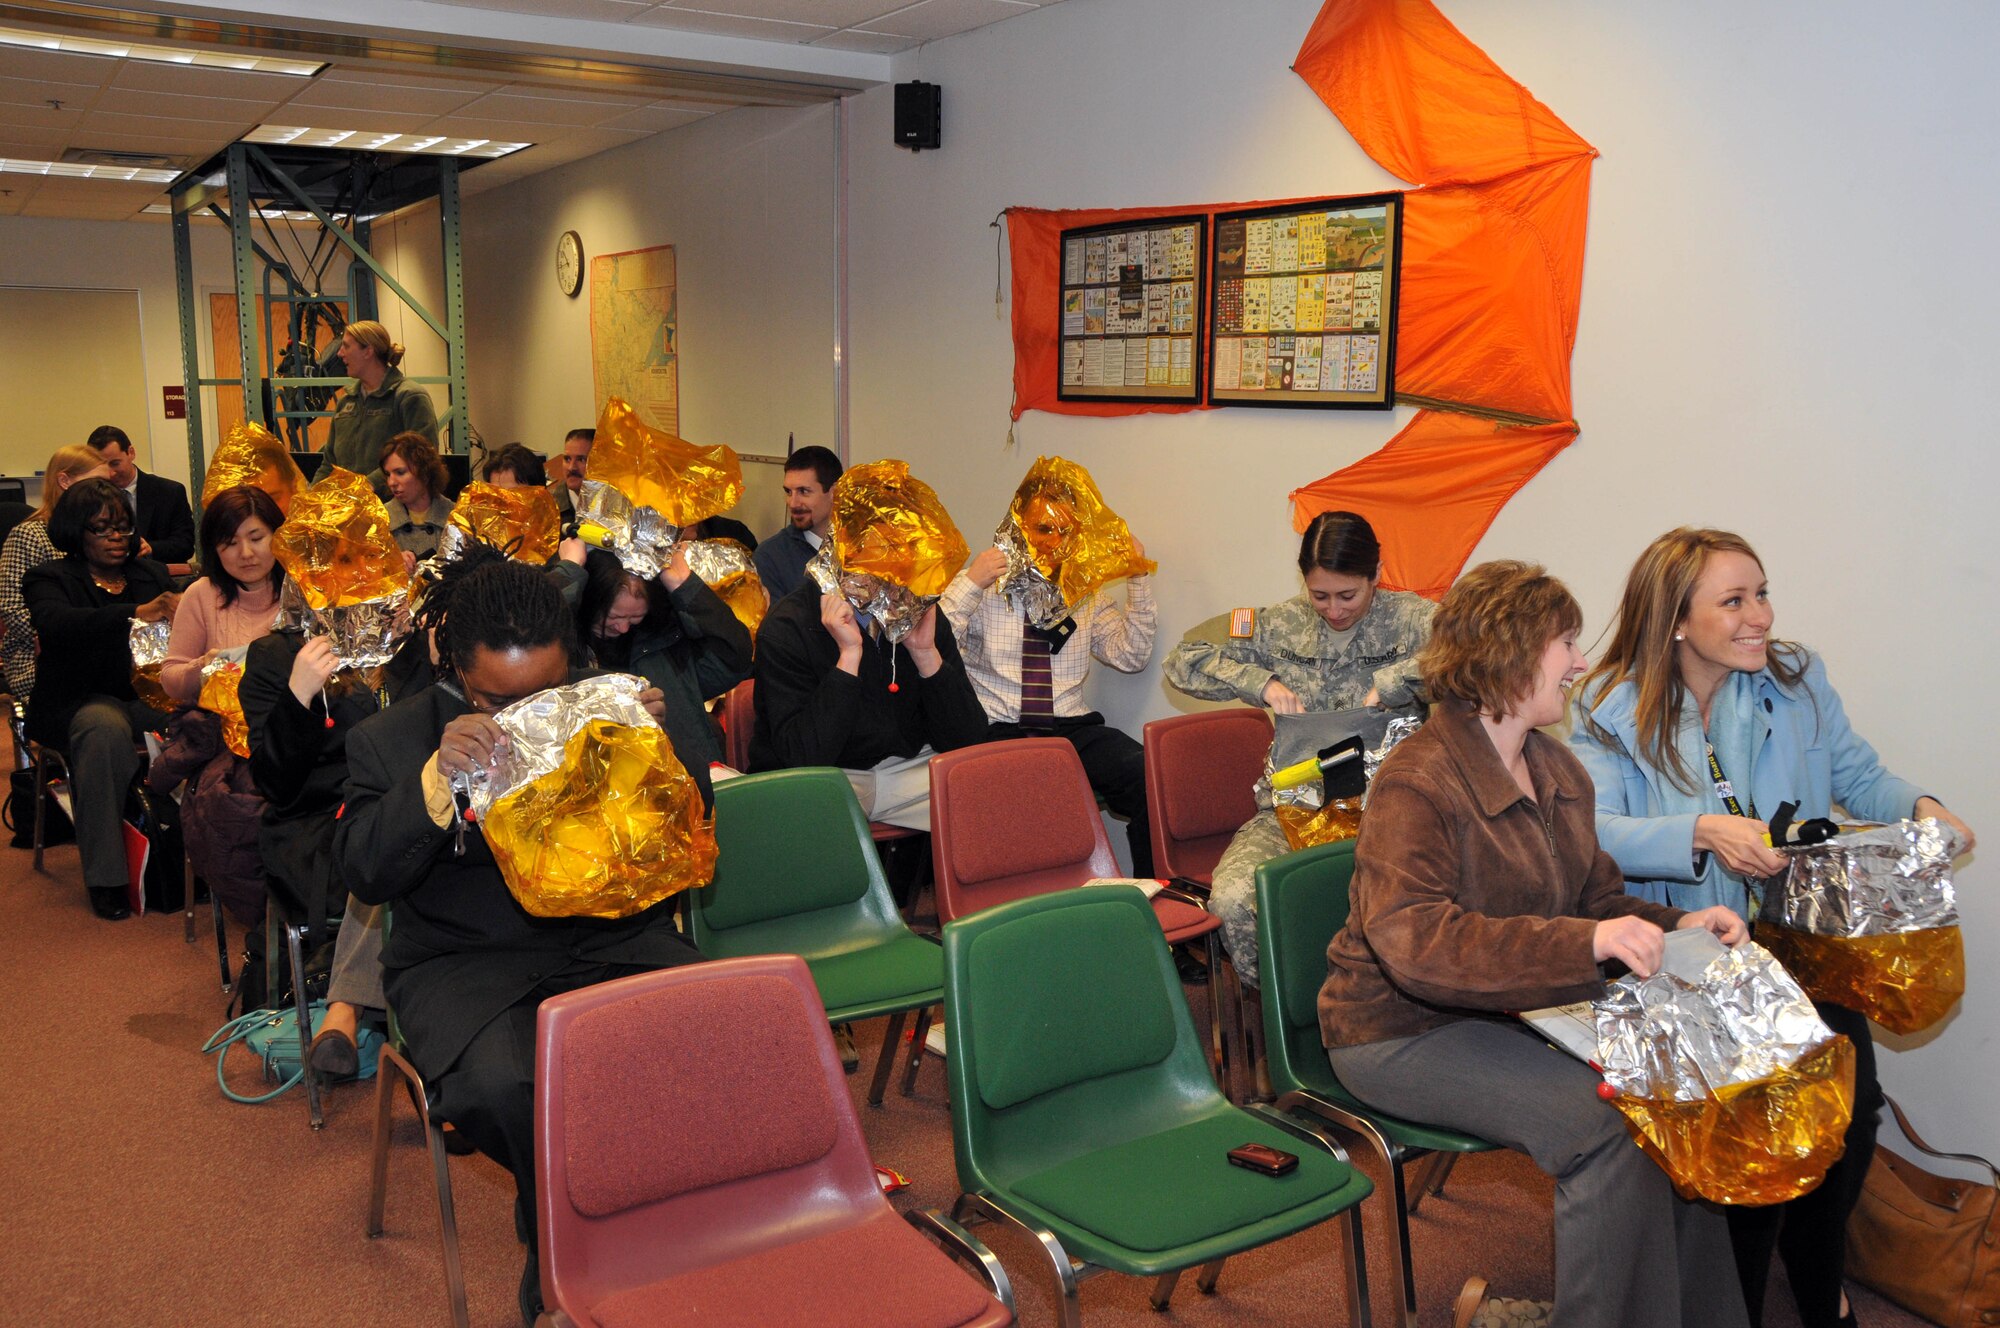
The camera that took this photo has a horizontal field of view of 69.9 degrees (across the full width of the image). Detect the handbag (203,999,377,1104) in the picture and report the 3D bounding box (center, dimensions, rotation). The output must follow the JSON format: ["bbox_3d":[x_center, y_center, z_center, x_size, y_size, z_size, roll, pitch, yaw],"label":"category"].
[{"bbox_3d":[-2.330,1.185,4.620,0.516,0.177,0.396,0,0,-8],"label":"handbag"}]

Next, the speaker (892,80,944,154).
[{"bbox_3d":[-0.420,-2.468,6.483,0.200,0.281,0.275,-7,11,-31],"label":"speaker"}]

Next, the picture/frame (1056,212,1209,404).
[{"bbox_3d":[0.544,-1.428,5.682,0.797,0.755,0.079,6,9,43],"label":"picture/frame"}]

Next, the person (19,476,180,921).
[{"bbox_3d":[-3.770,0.111,5.953,0.553,1.730,0.844,-8,11,-35],"label":"person"}]

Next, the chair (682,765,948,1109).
[{"bbox_3d":[-0.545,0.670,4.021,0.649,1.027,0.766,-2,1,-29],"label":"chair"}]

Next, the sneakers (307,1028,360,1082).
[{"bbox_3d":[-1.977,1.171,4.210,0.124,0.174,0.062,1,13,-9],"label":"sneakers"}]

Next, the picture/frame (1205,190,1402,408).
[{"bbox_3d":[1.114,-1.319,5.118,0.832,0.806,0.059,5,8,44],"label":"picture/frame"}]

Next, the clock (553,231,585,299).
[{"bbox_3d":[-2.704,-2.482,8.839,0.064,0.445,0.444,0,1,-31],"label":"clock"}]

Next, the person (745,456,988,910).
[{"bbox_3d":[-0.450,0.145,5.071,0.904,1.575,0.814,17,19,35],"label":"person"}]

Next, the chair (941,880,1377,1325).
[{"bbox_3d":[0.325,0.942,3.157,0.792,0.785,0.566,-7,10,-29],"label":"chair"}]

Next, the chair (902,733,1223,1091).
[{"bbox_3d":[0.075,0.579,4.253,0.606,0.947,0.737,-5,1,-27],"label":"chair"}]

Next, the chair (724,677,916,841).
[{"bbox_3d":[-0.655,0.308,5.198,0.628,0.632,0.581,2,-6,-31],"label":"chair"}]

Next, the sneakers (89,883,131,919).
[{"bbox_3d":[-3.612,0.955,5.741,0.107,0.172,0.175,4,-18,-37],"label":"sneakers"}]
